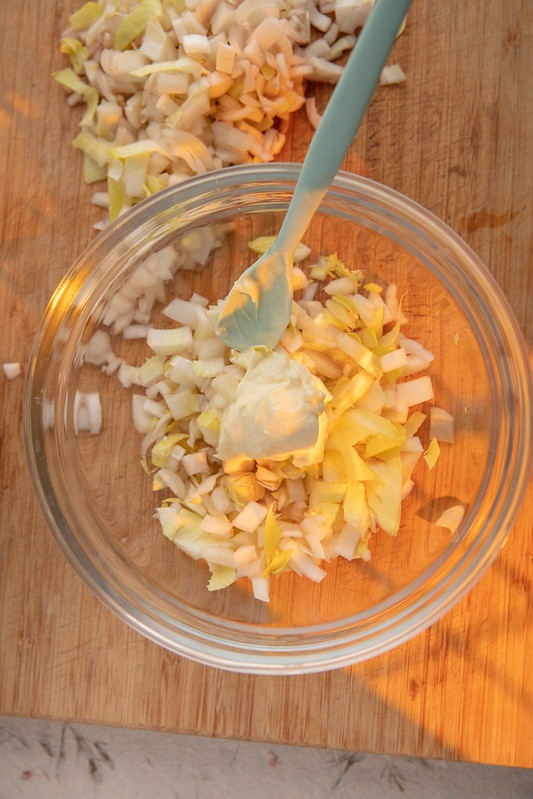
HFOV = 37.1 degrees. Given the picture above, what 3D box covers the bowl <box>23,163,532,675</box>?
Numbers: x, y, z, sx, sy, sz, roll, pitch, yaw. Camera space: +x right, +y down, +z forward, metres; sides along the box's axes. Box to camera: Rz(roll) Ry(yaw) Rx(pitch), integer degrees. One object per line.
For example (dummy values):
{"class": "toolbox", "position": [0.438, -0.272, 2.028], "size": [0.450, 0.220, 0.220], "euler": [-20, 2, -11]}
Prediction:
{"class": "bowl", "position": [0.020, 0.033, 1.261], "size": [0.782, 0.210, 0.773], "euler": [0, 84, 1]}
